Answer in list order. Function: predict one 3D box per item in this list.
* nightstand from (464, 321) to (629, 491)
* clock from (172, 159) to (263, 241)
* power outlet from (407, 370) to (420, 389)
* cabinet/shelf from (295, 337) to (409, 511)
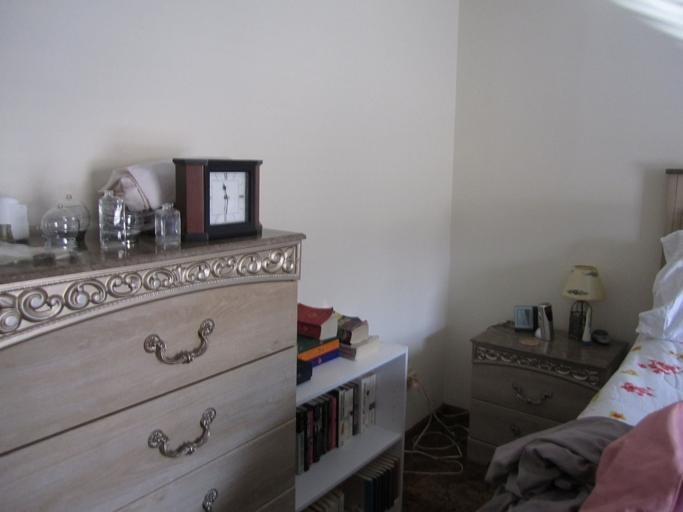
[{"bbox_3d":[1.092,0.697,3.076,0.688,1.035,0.976,-4,9,-40],"label":"nightstand"},{"bbox_3d":[-0.400,-0.178,1.602,0.092,0.206,0.227,9,14,42],"label":"clock"},{"bbox_3d":[0.469,0.801,3.303,0.017,0.129,0.156,4,12,36],"label":"power outlet"},{"bbox_3d":[0.031,0.730,2.223,0.222,0.696,0.709,11,23,37],"label":"cabinet/shelf"}]
